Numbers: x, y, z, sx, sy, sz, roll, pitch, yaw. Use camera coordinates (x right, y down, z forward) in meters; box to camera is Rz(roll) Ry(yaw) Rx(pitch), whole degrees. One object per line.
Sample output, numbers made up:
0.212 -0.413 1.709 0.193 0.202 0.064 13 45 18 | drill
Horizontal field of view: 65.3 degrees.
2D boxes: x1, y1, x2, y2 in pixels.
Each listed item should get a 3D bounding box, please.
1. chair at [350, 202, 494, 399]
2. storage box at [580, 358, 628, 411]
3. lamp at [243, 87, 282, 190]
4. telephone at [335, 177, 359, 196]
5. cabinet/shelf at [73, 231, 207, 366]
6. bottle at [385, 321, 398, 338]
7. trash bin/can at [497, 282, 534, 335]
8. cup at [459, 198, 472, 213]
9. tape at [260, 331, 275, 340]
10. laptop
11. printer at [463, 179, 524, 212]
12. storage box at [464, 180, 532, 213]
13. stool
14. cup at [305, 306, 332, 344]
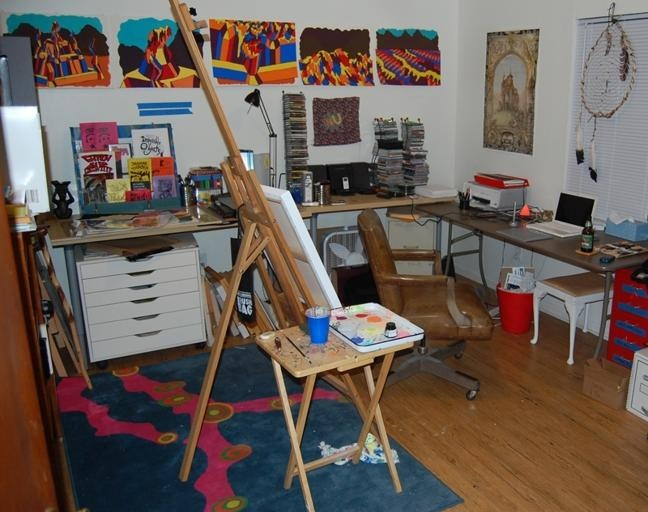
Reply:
0.747 0.322 3.800 1.025 1.178 0.898 2 12 11 | chair
1.901 0.863 3.393 0.247 0.217 0.314 -1 9 -25 | storage box
-0.588 -1.102 4.781 0.258 0.927 0.268 -2 18 7 | lamp
0.209 -0.701 5.076 0.228 0.196 0.048 1 -3 -20 | telephone
-1.431 0.322 3.855 1.057 0.894 0.547 -5 12 -23 | cabinet/shelf
0.296 0.332 2.250 0.061 0.056 0.061 0 10 2 | bottle
1.628 0.455 4.328 0.405 0.383 0.378 -1 5 -10 | trash bin/can
1.307 -0.465 4.721 0.127 0.123 0.121 -1 8 0 | cup
-0.266 0.377 2.380 0.074 0.016 0.071 -5 15 -7 | tape
1.950 -0.316 4.143 0.454 0.297 0.407 -9 21 -21 | laptop
1.614 -0.552 4.672 0.348 0.168 0.360 -6 20 -22 | printer
1.656 -0.570 4.682 0.371 0.174 0.373 -6 22 -22 | storage box
1.988 0.455 4.013 0.488 0.457 0.538 -3 11 -5 | stool
-0.026 0.315 2.298 0.162 0.150 0.151 -1 6 0 | cup
